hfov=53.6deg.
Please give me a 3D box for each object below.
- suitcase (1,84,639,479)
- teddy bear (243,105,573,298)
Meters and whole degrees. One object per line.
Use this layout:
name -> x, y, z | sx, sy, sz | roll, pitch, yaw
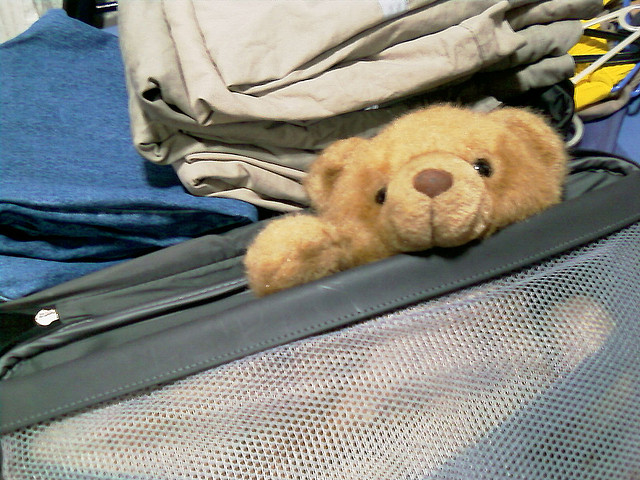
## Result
suitcase -> 0.013, 0.059, 0.716 | 0.764, 0.140, 0.425 | -11, 14, 1
teddy bear -> 0.102, -0.045, 0.800 | 0.418, 0.101, 0.177 | -18, 17, -3
